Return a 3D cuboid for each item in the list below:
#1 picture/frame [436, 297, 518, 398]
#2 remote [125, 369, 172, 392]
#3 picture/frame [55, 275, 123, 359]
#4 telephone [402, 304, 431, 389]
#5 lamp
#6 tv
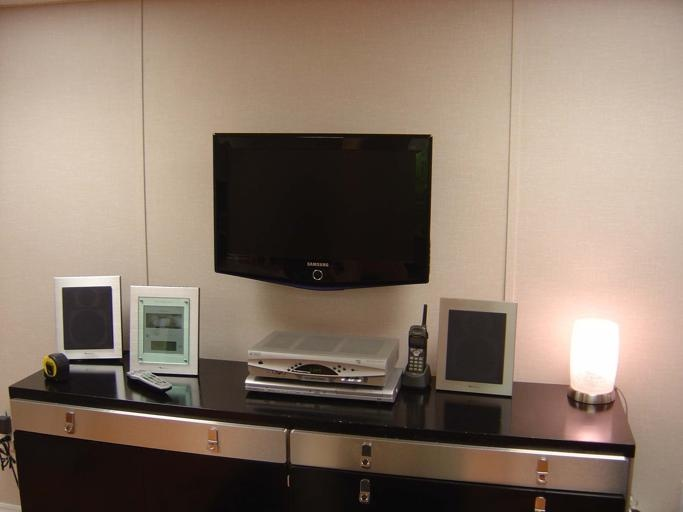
[{"bbox_3d":[0.587,0.405,2.628,0.382,0.481,0.047,5,5,7],"label":"picture/frame"},{"bbox_3d":[-0.842,0.548,2.677,0.232,0.047,0.085,14,12,39],"label":"remote"},{"bbox_3d":[-1.217,0.294,2.896,0.388,0.531,0.054,1,3,-10],"label":"picture/frame"},{"bbox_3d":[0.336,0.449,2.673,0.121,0.259,0.082,3,1,6],"label":"telephone"},{"bbox_3d":[1.090,0.443,2.621,0.257,0.330,0.259,2,2,22],"label":"lamp"},{"bbox_3d":[-0.065,-0.221,2.718,0.693,0.498,0.093,3,7,4],"label":"tv"}]
